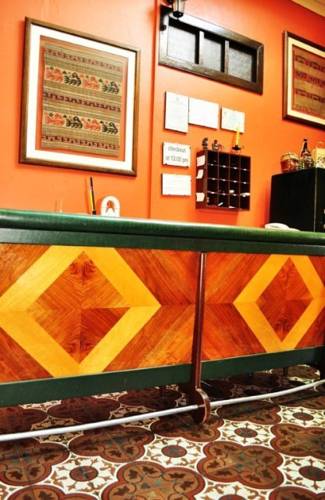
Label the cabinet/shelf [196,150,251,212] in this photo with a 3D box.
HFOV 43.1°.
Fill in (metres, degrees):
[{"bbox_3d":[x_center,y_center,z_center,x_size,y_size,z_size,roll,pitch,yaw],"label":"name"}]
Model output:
[{"bbox_3d":[0.459,-0.533,3.195,0.501,0.447,0.141,4,-7,-33],"label":"cabinet/shelf"}]
